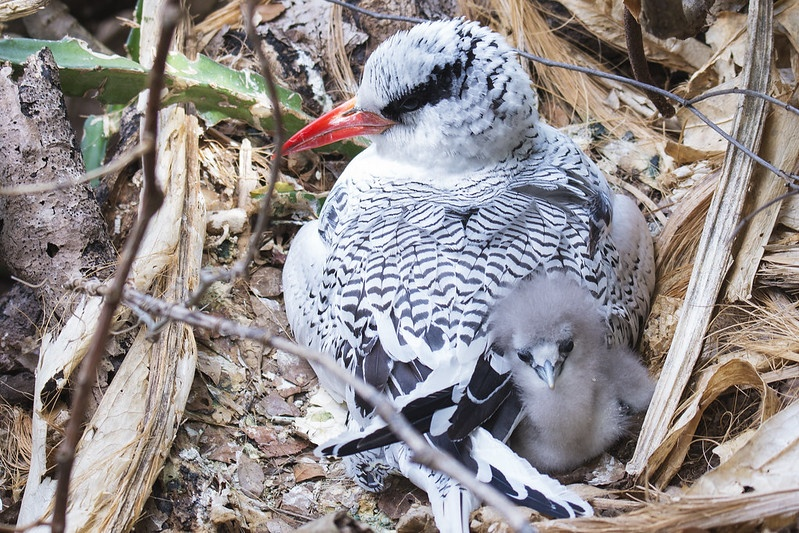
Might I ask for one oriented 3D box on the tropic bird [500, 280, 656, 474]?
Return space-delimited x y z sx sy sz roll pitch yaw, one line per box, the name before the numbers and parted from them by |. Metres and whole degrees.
tropic bird | 0.805 0.501 5.315 0.670 0.783 0.898 -13 49 29
